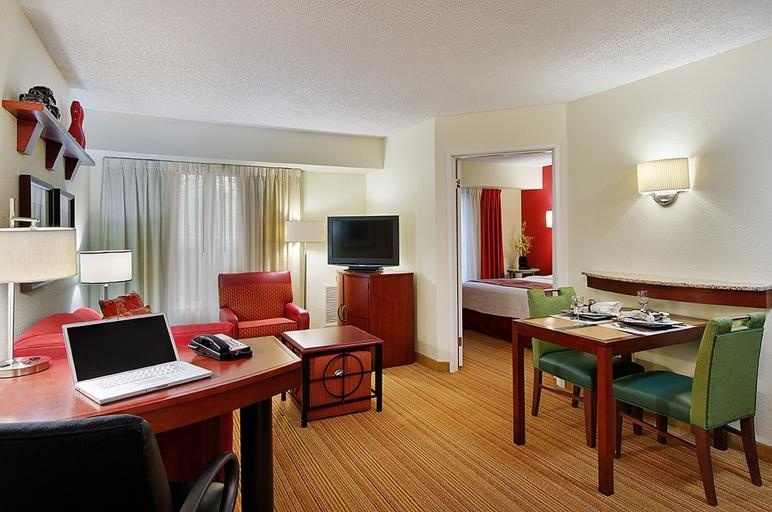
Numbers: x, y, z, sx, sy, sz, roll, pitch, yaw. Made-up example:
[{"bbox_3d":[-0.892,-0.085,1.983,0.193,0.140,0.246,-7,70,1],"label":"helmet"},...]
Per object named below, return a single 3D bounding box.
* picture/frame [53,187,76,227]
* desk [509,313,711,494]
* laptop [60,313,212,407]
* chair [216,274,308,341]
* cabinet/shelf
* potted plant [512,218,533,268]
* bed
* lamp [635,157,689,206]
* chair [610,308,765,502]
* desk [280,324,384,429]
[{"bbox_3d":[-2.864,-0.429,4.309,0.058,0.328,0.446,0,1,-16],"label":"picture/frame"},{"bbox_3d":[2.103,1.104,4.340,1.683,1.118,1.176,-4,3,-31],"label":"desk"},{"bbox_3d":[-1.529,0.582,2.833,0.552,0.344,0.562,-6,-3,44],"label":"laptop"},{"bbox_3d":[-1.517,0.579,6.219,1.033,1.121,0.841,0,-5,-30],"label":"chair"},{"bbox_3d":[-0.267,0.719,6.636,0.978,1.407,1.491,0,0,-15],"label":"cabinet/shelf"},{"bbox_3d":[2.617,-0.216,9.294,0.335,0.888,0.429,8,15,36],"label":"potted plant"},{"bbox_3d":[1.841,0.756,7.223,1.034,0.411,1.038,-2,0,-24],"label":"bed"},{"bbox_3d":[2.551,-0.686,4.446,0.158,0.482,0.494,-1,-1,-33],"label":"lamp"},{"bbox_3d":[2.324,1.073,3.695,1.027,1.329,0.627,7,14,33],"label":"chair"},{"bbox_3d":[-0.563,1.123,4.989,0.903,0.763,0.902,-1,0,-24],"label":"desk"}]
